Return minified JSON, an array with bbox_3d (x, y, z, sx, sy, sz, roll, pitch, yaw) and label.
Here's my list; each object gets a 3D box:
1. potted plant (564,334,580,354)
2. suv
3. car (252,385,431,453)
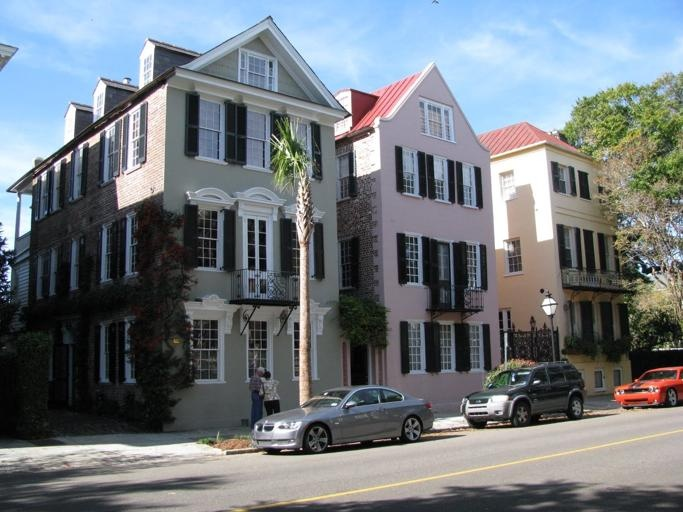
[{"bbox_3d":[11.989,4.653,36.518,1.559,0.968,0.362,9,-16,-42],"label":"potted plant"},{"bbox_3d":[6.643,5.016,25.393,4.544,2.233,1.520,5,-14,-32],"label":"suv"},{"bbox_3d":[0.076,4.689,20.650,4.766,1.485,2.020,9,-18,-34],"label":"car"}]
